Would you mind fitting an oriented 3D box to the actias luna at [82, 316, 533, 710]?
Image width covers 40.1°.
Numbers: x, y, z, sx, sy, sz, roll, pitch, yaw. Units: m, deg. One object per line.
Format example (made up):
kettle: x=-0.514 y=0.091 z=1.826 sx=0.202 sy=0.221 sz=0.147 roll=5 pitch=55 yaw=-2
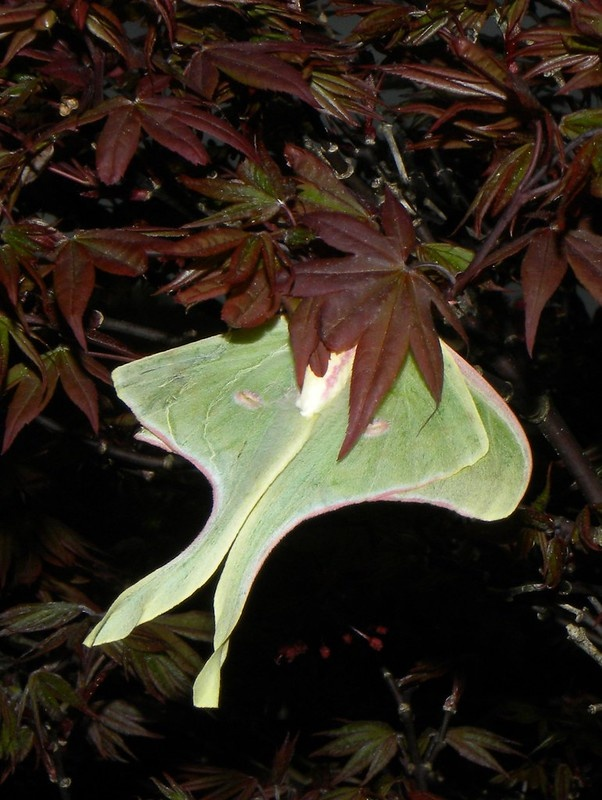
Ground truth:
actias luna: x=-0.027 y=0.038 z=0.508 sx=0.269 sy=0.120 sz=0.172 roll=-21 pitch=52 yaw=-16
